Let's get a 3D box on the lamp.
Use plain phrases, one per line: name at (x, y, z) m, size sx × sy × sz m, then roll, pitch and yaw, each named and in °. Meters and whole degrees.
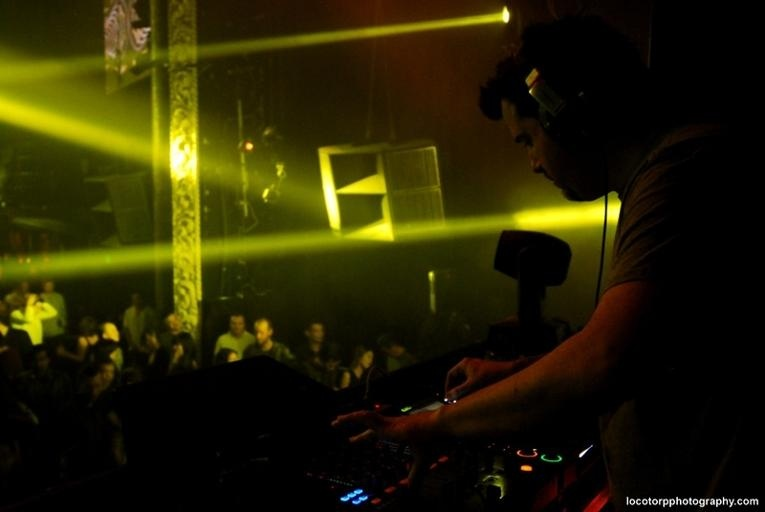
lamp at (0.659, 0.095, 2.846) m, size 0.365 × 0.640 × 0.429 m, roll 1°, pitch 1°, yaw 27°
